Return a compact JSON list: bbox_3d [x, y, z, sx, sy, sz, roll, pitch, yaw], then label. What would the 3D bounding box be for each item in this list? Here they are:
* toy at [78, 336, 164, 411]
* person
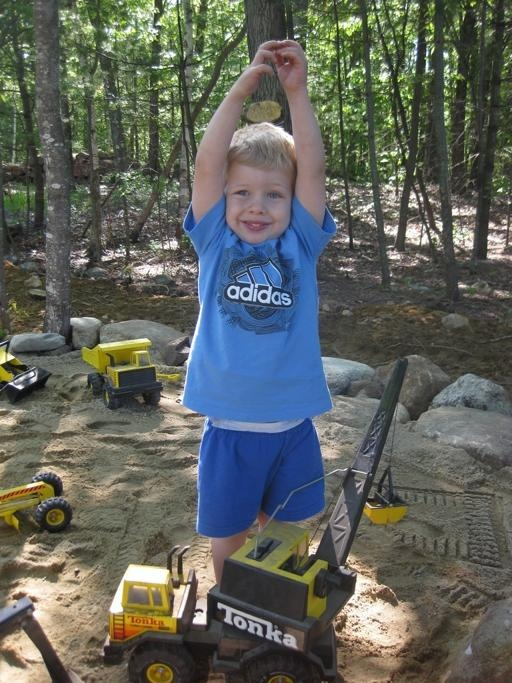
[{"bbox_3d":[-1.219,0.282,5.394,0.459,0.439,0.807,-5,10,-27],"label":"toy"},{"bbox_3d":[0.022,-0.065,2.038,0.574,1.871,0.386,-7,10,-25],"label":"person"}]
